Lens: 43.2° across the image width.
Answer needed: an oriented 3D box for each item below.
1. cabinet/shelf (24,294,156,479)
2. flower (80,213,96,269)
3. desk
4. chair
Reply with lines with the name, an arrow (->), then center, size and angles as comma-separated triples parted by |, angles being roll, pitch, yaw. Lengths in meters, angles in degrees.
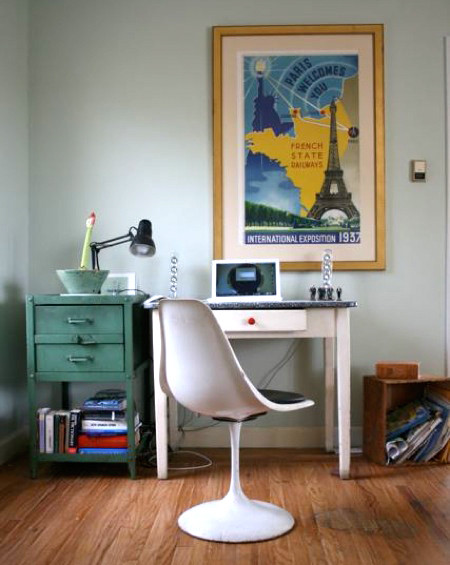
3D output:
cabinet/shelf -> -0.597, 0.429, 2.582 | 0.485, 0.758, 0.555 | -1, 2, -4
flower -> -0.641, -0.196, 2.663 | 0.079, 0.276, 0.408 | -1, 1, -15
desk -> 0.127, 0.449, 2.514 | 0.796, 0.780, 0.553 | 0, 0, 8
chair -> 0.022, 0.428, 1.894 | 0.421, 0.723, 0.481 | -3, -1, 38
